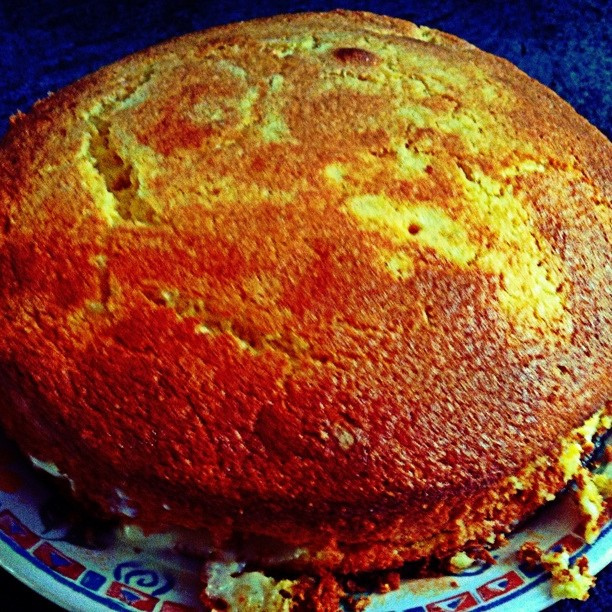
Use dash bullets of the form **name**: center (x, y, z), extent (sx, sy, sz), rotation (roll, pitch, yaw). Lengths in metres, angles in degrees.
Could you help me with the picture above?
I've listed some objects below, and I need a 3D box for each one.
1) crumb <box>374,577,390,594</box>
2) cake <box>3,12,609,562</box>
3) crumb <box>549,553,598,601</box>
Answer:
- **crumb**: center (0.122, 0.452, 1.362), extent (0.022, 0.009, 0.021), rotation (-1, 58, 5)
- **cake**: center (0.000, -0.063, 1.369), extent (1.081, 0.313, 0.913), rotation (12, 73, 0)
- **crumb**: center (0.427, 0.433, 1.360), extent (0.066, 0.026, 0.066), rotation (18, 84, -5)
